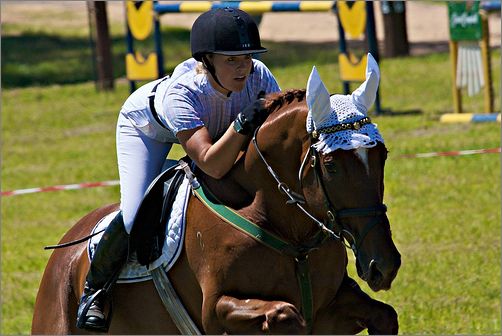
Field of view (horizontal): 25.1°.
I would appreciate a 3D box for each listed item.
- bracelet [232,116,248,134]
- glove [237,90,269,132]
[{"bbox_3d":[-0.096,-0.496,12.770,0.182,0.199,0.149,8,11,33],"label":"bracelet"},{"bbox_3d":[-0.009,-0.600,12.783,0.328,0.350,0.089,4,-2,-1],"label":"glove"}]
